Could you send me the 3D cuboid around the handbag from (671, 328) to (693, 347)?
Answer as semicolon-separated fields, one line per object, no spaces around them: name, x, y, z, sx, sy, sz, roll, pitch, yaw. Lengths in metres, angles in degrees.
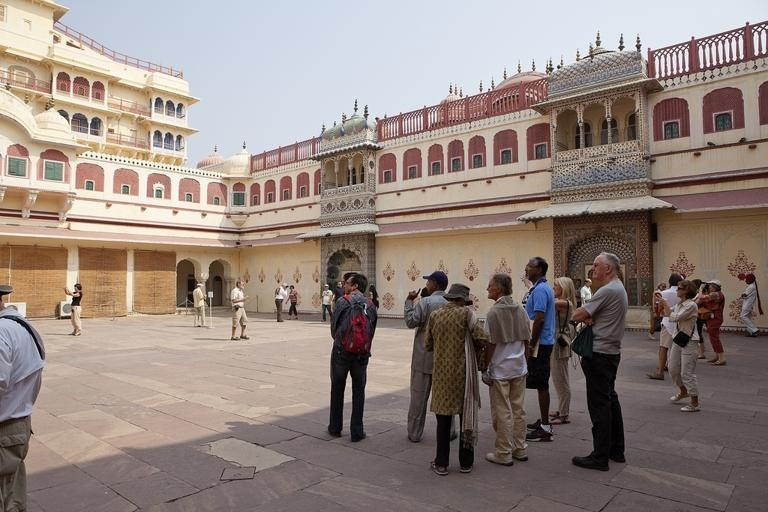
handbag;5.434;1.483;10.626;0.081;0.261;0.263;20;13;-24

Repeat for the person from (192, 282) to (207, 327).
person;-7.100;1.954;22.434;0.389;1.551;1.650;-4;11;-20

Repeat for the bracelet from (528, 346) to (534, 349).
bracelet;2.368;1.453;9.409;0.132;0.024;0.032;11;-32;-32

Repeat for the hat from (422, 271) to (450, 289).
hat;0.837;0.365;9.664;0.407;0.229;0.282;30;18;26

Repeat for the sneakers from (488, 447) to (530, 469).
sneakers;1.862;3.046;8.954;0.684;0.279;0.231;0;-1;45

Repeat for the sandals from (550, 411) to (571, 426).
sandals;3.012;2.775;10.054;0.141;0.171;0.452;6;-1;-36

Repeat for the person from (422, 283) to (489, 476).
person;1.068;1.813;8.781;0.897;2.657;0.979;3;11;18

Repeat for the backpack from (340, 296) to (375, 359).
backpack;-0.469;1.159;9.592;0.498;0.920;0.406;-2;10;-9

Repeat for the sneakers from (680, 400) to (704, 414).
sneakers;5.562;2.711;10.495;0.482;0.283;0.165;0;-9;7

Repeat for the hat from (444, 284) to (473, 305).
hat;1.164;0.594;9.016;0.379;0.187;0.309;6;-2;-18

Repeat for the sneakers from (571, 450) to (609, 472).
sneakers;3.108;3.063;8.850;0.537;0.234;0.218;0;-8;31

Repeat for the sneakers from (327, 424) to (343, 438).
sneakers;-0.810;2.862;9.612;0.234;0.219;0.141;0;0;7

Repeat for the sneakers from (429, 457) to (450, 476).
sneakers;0.816;3.110;8.698;0.135;0.145;0.355;2;-1;-1

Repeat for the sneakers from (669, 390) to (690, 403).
sneakers;5.557;2.622;10.942;0.393;0.123;0.165;-17;-6;-23

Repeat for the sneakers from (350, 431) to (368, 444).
sneakers;-0.418;2.905;9.464;0.116;0.205;0.293;3;4;27

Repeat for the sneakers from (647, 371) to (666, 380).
sneakers;5.792;2.520;12.401;0.375;0.144;0.137;1;-3;24
